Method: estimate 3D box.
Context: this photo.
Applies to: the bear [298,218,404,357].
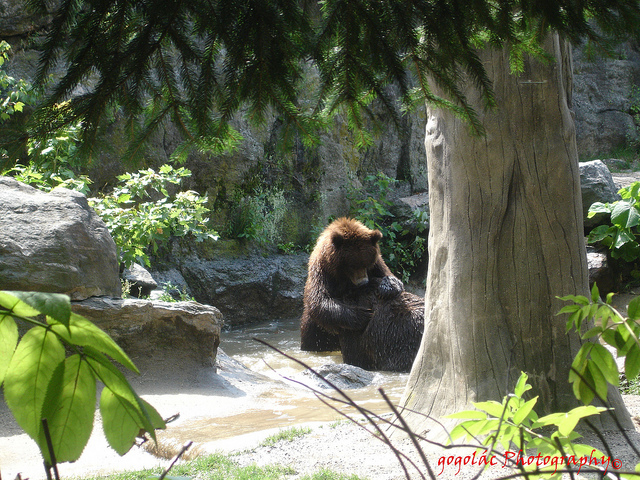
[{"bbox_3d":[0.353,0.599,10.479,1.131,1.862,1.157,0,8,-10],"label":"bear"}]
